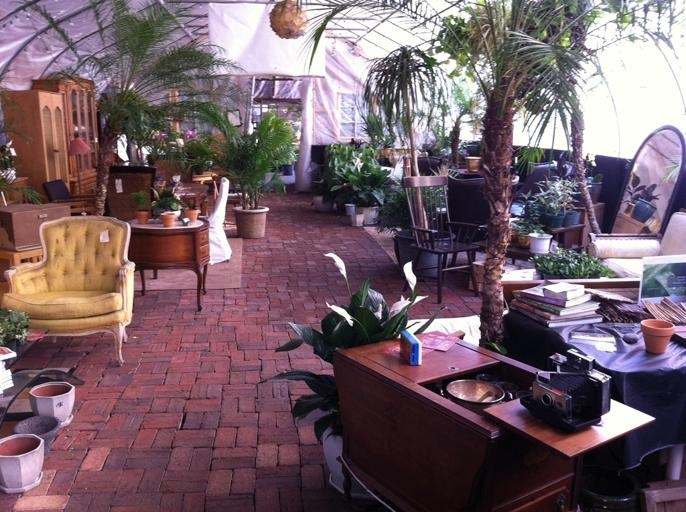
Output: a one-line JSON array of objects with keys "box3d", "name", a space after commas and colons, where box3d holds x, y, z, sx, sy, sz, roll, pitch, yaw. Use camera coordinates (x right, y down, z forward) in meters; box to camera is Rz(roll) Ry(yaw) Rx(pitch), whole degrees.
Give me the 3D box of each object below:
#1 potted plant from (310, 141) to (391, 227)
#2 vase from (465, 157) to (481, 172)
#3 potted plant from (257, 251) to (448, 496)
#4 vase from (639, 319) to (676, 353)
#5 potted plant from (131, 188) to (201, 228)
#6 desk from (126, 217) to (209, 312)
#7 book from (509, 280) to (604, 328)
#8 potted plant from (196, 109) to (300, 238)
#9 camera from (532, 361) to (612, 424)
[{"box3d": [0.198, -1.596, 10.011, 1.230, 1.655, 1.641, -4, 13, -18], "name": "potted plant"}, {"box3d": [2.968, -2.136, 10.677, 0.321, 0.295, 0.629, 3, 12, 13], "name": "vase"}, {"box3d": [0.197, 0.504, 3.023, 1.472, 1.276, 1.315, 2, 9, 22], "name": "potted plant"}, {"box3d": [1.733, 0.441, 2.586, 0.184, 0.127, 0.166, 2, 13, 22], "name": "vase"}, {"box3d": [-1.959, -0.543, 5.190, 0.765, 0.310, 0.572, 9, 14, 13], "name": "potted plant"}, {"box3d": [-1.910, 0.041, 5.432, 1.128, 0.923, 1.094, 0, 10, -4], "name": "desk"}, {"box3d": [1.349, 0.267, 3.023, 0.382, 0.109, 0.343, -5, 12, -20], "name": "book"}, {"box3d": [-1.672, -1.397, 7.984, 1.311, 2.203, 2.435, 5, 13, 18], "name": "potted plant"}, {"box3d": [0.794, 0.472, 1.677, 0.176, 0.141, 0.237, -9, 8, -26], "name": "camera"}]
